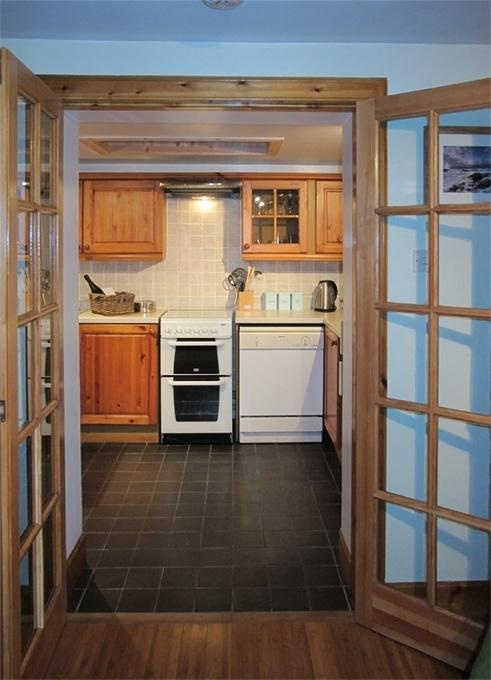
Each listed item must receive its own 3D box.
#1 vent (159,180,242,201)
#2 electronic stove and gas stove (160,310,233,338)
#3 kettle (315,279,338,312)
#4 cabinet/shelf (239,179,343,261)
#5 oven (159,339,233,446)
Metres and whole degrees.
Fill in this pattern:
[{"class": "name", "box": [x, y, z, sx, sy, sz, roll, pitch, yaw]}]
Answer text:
[{"class": "vent", "box": [-0.323, -1.113, 4.273, 0.567, 0.095, 0.410, 1, 8, 0]}, {"class": "electronic stove and gas stove", "box": [-0.364, -0.110, 4.157, 0.506, 0.161, 0.336, 0, 8, -5]}, {"class": "kettle", "box": [0.623, -0.349, 4.468, 0.228, 0.268, 0.163, -1, 4, -18]}, {"class": "cabinet/shelf", "box": [0.344, -0.914, 4.255, 0.661, 0.546, 0.251, 0, 3, 1]}, {"class": "oven", "box": [-0.342, 0.305, 4.273, 0.610, 0.816, 0.608, 2, 7, 20]}]
